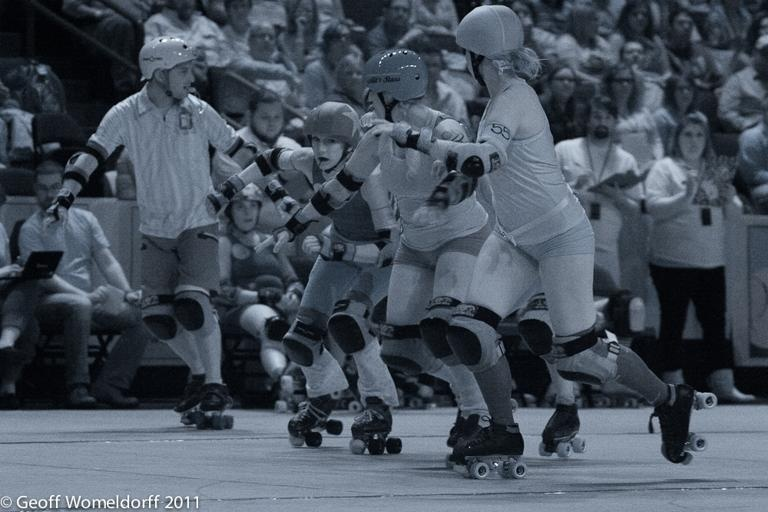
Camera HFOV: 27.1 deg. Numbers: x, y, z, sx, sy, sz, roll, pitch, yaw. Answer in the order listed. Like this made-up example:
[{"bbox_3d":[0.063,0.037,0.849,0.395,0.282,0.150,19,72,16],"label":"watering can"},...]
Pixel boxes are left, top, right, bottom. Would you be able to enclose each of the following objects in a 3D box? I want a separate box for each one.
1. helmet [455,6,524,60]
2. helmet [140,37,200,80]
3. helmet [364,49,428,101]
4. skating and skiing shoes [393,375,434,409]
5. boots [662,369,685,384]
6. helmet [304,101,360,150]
[{"bbox_3d":[0.724,-1.528,10.768,0.388,0.234,0.380,21,26,36],"label":"helmet"},{"bbox_3d":[-1.676,-1.526,12.474,0.285,0.436,0.645,8,-3,-31],"label":"helmet"},{"bbox_3d":[0.090,-1.273,11.155,0.433,0.384,0.179,0,-2,-2],"label":"helmet"},{"bbox_3d":[0.281,1.225,14.386,0.392,0.201,0.233,6,-1,26],"label":"skating and skiing shoes"},{"bbox_3d":[2.622,1.066,14.417,0.201,0.109,0.155,0,-3,9],"label":"boots"},{"bbox_3d":[-0.346,-0.945,11.611,0.297,0.294,0.389,5,7,36],"label":"helmet"}]
